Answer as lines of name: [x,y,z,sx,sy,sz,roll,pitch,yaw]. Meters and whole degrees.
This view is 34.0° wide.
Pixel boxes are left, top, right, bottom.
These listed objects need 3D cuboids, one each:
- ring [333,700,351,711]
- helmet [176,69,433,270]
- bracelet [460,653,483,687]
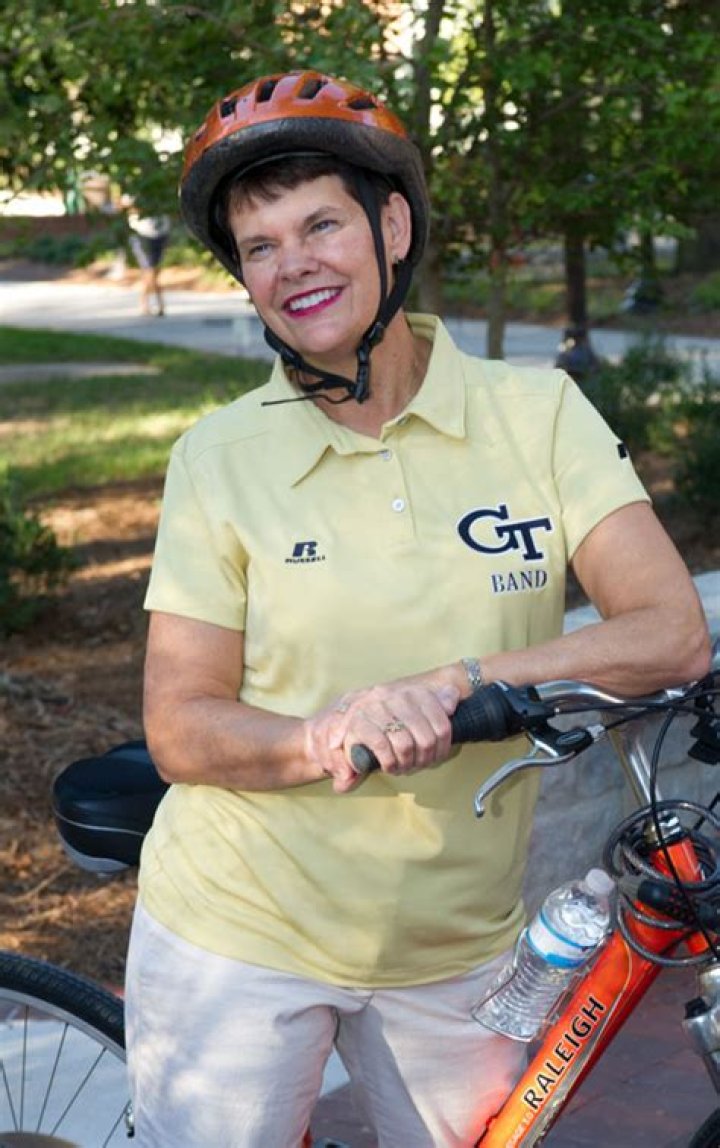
ring: [-0.021,0.160,1.402,0.004,0.014,0.014,30,6,-35]
helmet: [-0.087,-0.627,1.664,0.300,0.362,0.193,0,50,5]
bracelet: [0.134,0.119,1.470,0.035,0.029,0.032,-5,-10,-2]
